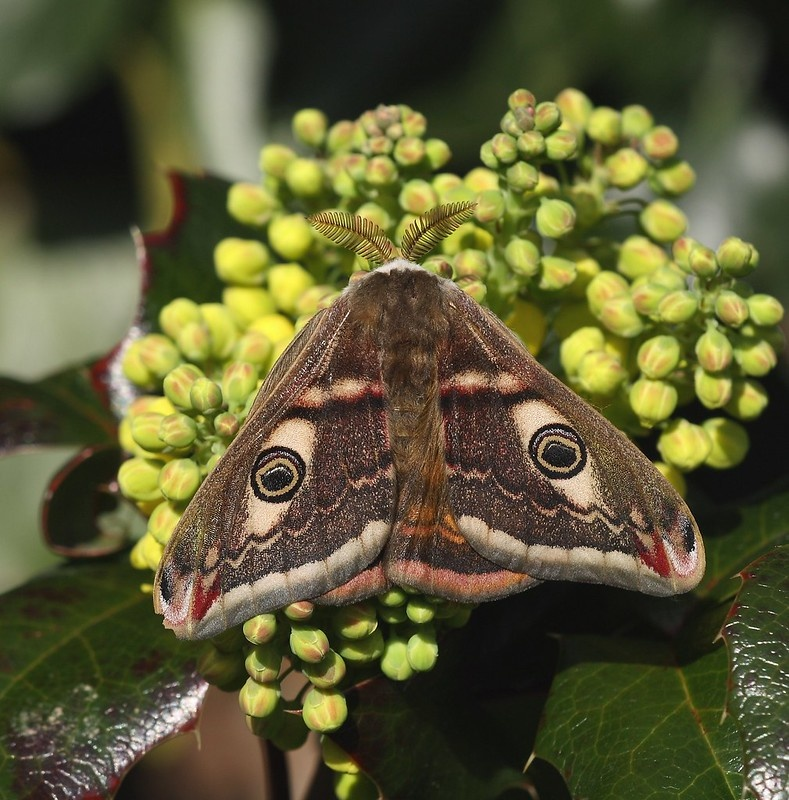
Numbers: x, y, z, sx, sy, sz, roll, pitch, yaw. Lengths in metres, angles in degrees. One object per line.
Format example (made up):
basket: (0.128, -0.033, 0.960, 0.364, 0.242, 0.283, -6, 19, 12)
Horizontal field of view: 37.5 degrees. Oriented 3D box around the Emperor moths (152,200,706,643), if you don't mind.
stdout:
Emperor moths: (0.048, 0.081, 2.560, 1.147, 0.457, 0.768, -2, 84, 0)
